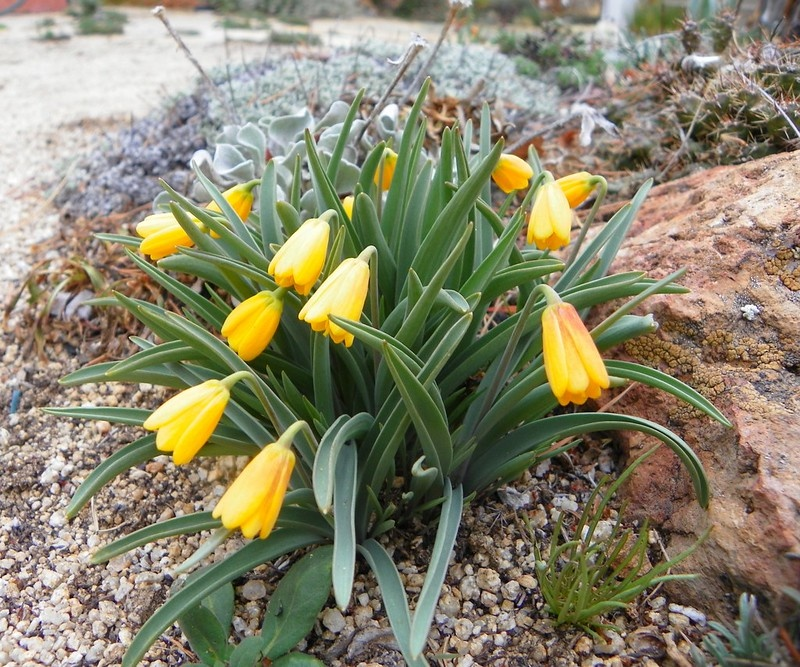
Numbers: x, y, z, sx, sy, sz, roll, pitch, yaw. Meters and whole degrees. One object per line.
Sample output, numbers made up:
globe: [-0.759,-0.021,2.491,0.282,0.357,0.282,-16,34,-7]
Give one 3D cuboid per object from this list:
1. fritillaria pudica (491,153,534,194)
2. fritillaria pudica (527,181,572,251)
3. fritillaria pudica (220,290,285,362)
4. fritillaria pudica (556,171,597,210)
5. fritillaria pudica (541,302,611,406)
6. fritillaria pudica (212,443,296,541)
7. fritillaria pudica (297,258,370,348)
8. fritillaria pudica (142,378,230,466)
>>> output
fritillaria pudica: [0.341,-0.508,2.229,0.076,0.037,0.222,-49,32,11]
fritillaria pudica: [0.425,-0.337,2.013,0.114,0.115,0.272,4,42,8]
fritillaria pudica: [-0.391,-0.024,1.935,0.121,0.102,0.221,36,92,5]
fritillaria pudica: [0.512,-0.428,2.170,0.167,0.071,0.080,-15,56,19]
fritillaria pudica: [0.416,0.035,1.780,0.129,0.110,0.282,-2,62,-17]
fritillaria pudica: [-0.341,0.375,1.727,0.145,0.130,0.289,12,44,9]
fritillaria pudica: [-0.171,-0.086,1.838,0.105,0.099,0.246,18,55,17]
fritillaria pudica: [-0.515,0.211,1.767,0.235,0.101,0.148,-42,84,-1]
